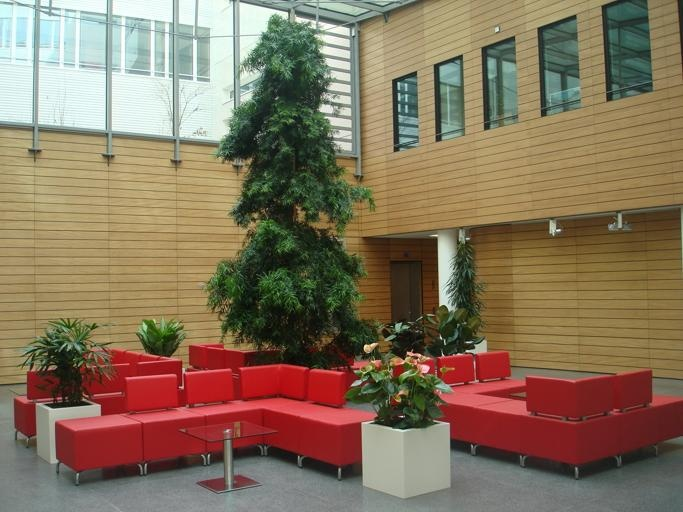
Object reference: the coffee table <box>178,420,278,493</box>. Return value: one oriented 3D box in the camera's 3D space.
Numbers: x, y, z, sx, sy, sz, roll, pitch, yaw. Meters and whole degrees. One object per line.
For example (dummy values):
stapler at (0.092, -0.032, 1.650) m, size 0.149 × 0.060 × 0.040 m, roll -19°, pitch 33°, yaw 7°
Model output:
coffee table at (-1.385, 2.292, 6.782) m, size 1.111 × 0.602 × 0.900 m, roll 0°, pitch 0°, yaw -35°

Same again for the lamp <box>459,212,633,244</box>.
lamp at (4.729, -0.704, 13.283) m, size 3.774 × 0.918 × 1.232 m, roll 8°, pitch 14°, yaw 44°

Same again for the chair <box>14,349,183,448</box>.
chair at (-4.223, 2.044, 9.260) m, size 2.544 × 1.163 × 1.719 m, roll 1°, pitch 1°, yaw -42°

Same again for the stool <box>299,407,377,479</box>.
stool at (0.071, 2.368, 7.359) m, size 0.935 × 0.537 × 0.909 m, roll -3°, pitch -5°, yaw 44°

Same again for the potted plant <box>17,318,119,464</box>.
potted plant at (-3.861, 1.885, 8.012) m, size 1.374 × 1.776 × 1.438 m, roll -6°, pitch -8°, yaw 24°

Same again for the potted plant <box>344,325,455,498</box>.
potted plant at (0.746, 1.930, 6.811) m, size 1.477 × 1.432 × 1.043 m, roll 0°, pitch -10°, yaw -8°

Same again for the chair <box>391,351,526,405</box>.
chair at (1.720, 1.786, 8.347) m, size 1.670 × 0.777 × 0.764 m, roll 1°, pitch -5°, yaw -31°

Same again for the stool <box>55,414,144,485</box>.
stool at (-3.057, 2.284, 7.178) m, size 1.120 × 0.599 × 0.800 m, roll 2°, pitch -7°, yaw -33°
